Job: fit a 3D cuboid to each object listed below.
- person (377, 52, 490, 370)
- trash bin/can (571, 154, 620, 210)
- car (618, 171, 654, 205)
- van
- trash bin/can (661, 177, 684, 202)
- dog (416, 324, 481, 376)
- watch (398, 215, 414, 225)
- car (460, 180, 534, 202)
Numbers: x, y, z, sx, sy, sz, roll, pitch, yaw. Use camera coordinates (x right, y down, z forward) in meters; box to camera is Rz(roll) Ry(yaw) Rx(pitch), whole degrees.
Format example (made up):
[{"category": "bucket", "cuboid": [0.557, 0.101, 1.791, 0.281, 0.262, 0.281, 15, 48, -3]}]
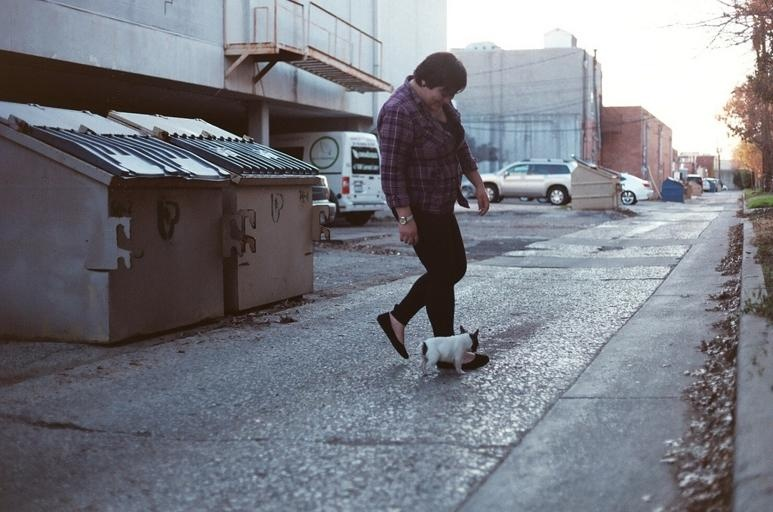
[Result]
[{"category": "person", "cuboid": [0.349, -0.368, 5.987, 0.880, 2.561, 0.467, -1, 10, -4]}, {"category": "trash bin/can", "cuboid": [7.510, -2.664, 26.480, 1.502, 1.745, 1.683, -5, 6, 9]}, {"category": "car", "cuboid": [12.110, -3.183, 35.538, 1.303, 1.487, 3.189, 3, 12, 17]}, {"category": "van", "cuboid": [-1.763, -2.421, 21.302, 3.236, 2.029, 2.273, 9, 11, 36]}, {"category": "trash bin/can", "cuboid": [15.718, -3.608, 40.175, 1.084, 1.655, 1.578, -1, 1, 16]}, {"category": "dog", "cuboid": [0.520, 0.790, 5.956, 0.506, 0.386, 0.207, -2, -4, -18]}, {"category": "watch", "cuboid": [0.140, -0.299, 5.781, 0.075, 0.089, 0.079, 6, 10, 29]}, {"category": "car", "cuboid": [5.227, -3.037, 34.213, 3.424, 1.658, 2.097, 2, 3, 2]}]
